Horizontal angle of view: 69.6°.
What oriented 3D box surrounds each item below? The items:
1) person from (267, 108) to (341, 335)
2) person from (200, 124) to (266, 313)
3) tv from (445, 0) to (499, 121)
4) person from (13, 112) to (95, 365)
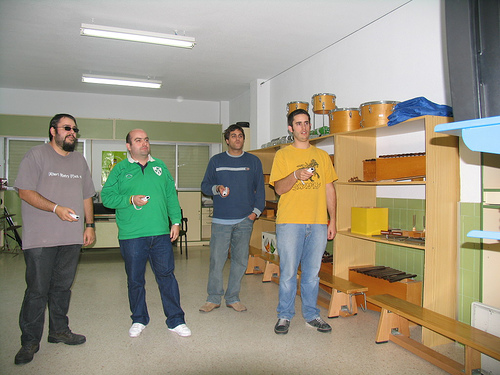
[{"bbox_3d":[0.531,0.327,3.448,0.671,2.172,0.495,0,3,-2],"label":"person"},{"bbox_3d":[-0.206,0.501,4.019,0.724,1.781,0.407,0,3,1],"label":"person"},{"bbox_3d":[0.829,-0.485,1.347,0.177,0.452,0.059,1,3,32],"label":"tv"},{"bbox_3d":[-1.693,0.392,3.149,0.564,2.095,0.489,-1,3,-16],"label":"person"}]
